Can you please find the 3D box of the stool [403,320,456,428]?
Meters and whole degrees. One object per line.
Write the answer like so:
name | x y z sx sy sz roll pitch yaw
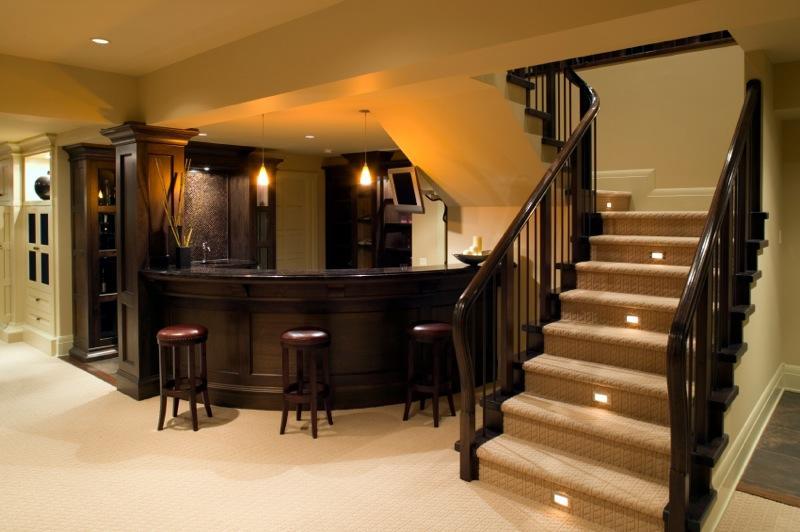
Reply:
stool | 0.308 1.048 5.925 0.538 0.989 0.882 0 12 6

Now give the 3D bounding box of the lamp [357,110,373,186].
lamp | -0.446 -1.502 7.325 0.264 0.916 0.264 0 4 11

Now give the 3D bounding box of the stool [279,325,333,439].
stool | -0.939 1.093 5.684 0.541 0.963 0.795 -3 12 -8

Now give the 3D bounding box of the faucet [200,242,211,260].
faucet | -3.145 -0.242 9.204 0.135 0.287 0.266 -1 12 0

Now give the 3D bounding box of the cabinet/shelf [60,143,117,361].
cabinet/shelf | -4.214 -0.217 8.168 0.686 2.898 0.996 5 5 33

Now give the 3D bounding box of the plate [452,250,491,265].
plate | 0.825 -0.072 6.570 0.347 0.169 0.298 4 13 20

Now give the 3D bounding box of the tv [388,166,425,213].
tv | 0.101 -1.096 8.123 0.196 0.647 0.670 -11 12 -31
